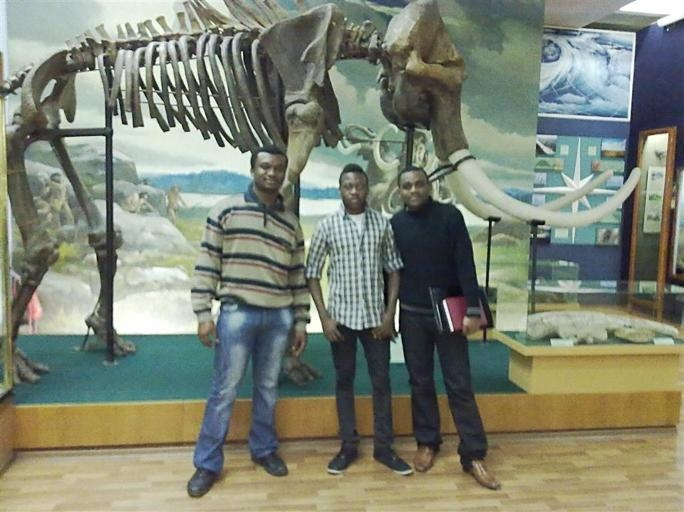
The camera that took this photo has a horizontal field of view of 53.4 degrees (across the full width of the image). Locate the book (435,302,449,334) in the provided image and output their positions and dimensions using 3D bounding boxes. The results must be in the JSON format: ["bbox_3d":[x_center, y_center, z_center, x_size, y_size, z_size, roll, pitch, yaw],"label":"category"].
[{"bbox_3d":[0.650,0.396,4.381,0.094,0.228,0.102,1,9,6],"label":"book"}]

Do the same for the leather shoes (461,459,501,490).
[{"bbox_3d":[0.901,1.408,4.488,0.105,0.130,0.309,-17,16,-24],"label":"leather shoes"}]

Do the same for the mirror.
[{"bbox_3d":[3.444,-0.560,7.533,0.240,1.695,0.575,-2,9,-14],"label":"mirror"}]

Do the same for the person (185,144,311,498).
[{"bbox_3d":[-0.602,0.398,4.372,0.824,2.174,0.421,-2,9,-12],"label":"person"}]

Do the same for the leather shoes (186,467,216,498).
[{"bbox_3d":[-0.883,1.431,4.263,0.090,0.103,0.243,4,-10,3],"label":"leather shoes"}]

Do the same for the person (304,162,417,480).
[{"bbox_3d":[0.119,0.416,4.458,0.681,2.015,0.364,-1,9,-4],"label":"person"}]

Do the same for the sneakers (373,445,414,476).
[{"bbox_3d":[0.326,1.353,4.558,0.116,0.117,0.322,-7,9,-43],"label":"sneakers"}]

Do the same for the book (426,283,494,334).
[{"bbox_3d":[0.720,0.349,4.314,0.325,0.322,0.086,1,-28,-9],"label":"book"}]

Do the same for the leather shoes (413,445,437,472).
[{"bbox_3d":[0.564,1.355,4.538,0.105,0.128,0.310,0,-12,10],"label":"leather shoes"}]

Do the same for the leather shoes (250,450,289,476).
[{"bbox_3d":[-0.473,1.367,4.527,0.276,0.108,0.104,3,4,44],"label":"leather shoes"}]

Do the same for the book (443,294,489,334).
[{"bbox_3d":[0.826,0.373,4.394,0.354,0.264,0.129,-4,9,-24],"label":"book"}]
